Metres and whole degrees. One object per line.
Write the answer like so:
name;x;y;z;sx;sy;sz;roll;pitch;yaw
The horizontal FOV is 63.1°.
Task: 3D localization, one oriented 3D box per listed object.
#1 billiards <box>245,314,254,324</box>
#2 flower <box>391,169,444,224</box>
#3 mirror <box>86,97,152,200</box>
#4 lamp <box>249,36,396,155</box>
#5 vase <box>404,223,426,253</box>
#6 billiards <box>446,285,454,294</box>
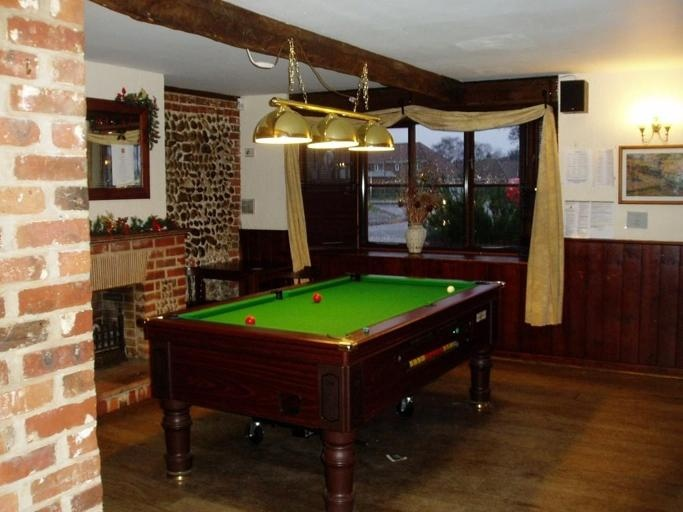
billiards;-0.565;0.388;3.434;0.046;0.045;0.046;-8;24;-37
flower;0.969;-0.681;7.003;0.439;0.499;0.478;13;0;21
mirror;-2.280;-1.065;5.665;1.095;0.946;0.059;7;8;33
lamp;-0.088;-1.044;3.713;0.381;0.563;1.059;19;16;41
vase;0.911;-0.222;6.875;0.310;0.384;0.318;1;-1;-15
billiards;0.891;0.273;4.551;0.049;0.036;0.062;7;4;10
